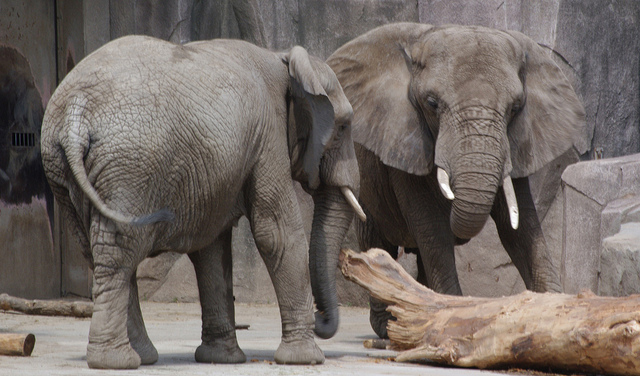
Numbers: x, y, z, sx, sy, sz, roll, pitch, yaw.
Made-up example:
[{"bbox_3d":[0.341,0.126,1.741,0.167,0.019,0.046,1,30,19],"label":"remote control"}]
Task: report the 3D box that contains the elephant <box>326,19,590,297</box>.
[{"bbox_3d":[1.479,-0.301,12.519,3.057,3.036,4.032,-2,2,-9],"label":"elephant"}]
